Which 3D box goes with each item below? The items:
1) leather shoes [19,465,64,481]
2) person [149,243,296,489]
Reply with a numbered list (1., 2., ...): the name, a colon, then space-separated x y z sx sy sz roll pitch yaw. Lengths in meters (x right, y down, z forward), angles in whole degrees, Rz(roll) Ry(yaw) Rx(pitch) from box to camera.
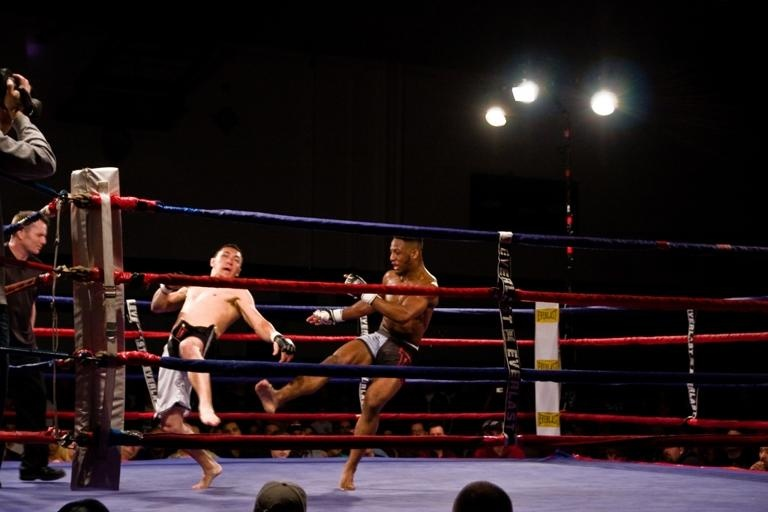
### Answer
1. leather shoes: -2.760 1.765 7.480 0.426 0.127 0.126 2 1 -16
2. person: -1.390 0.829 7.332 0.796 2.010 1.384 15 -19 -39
